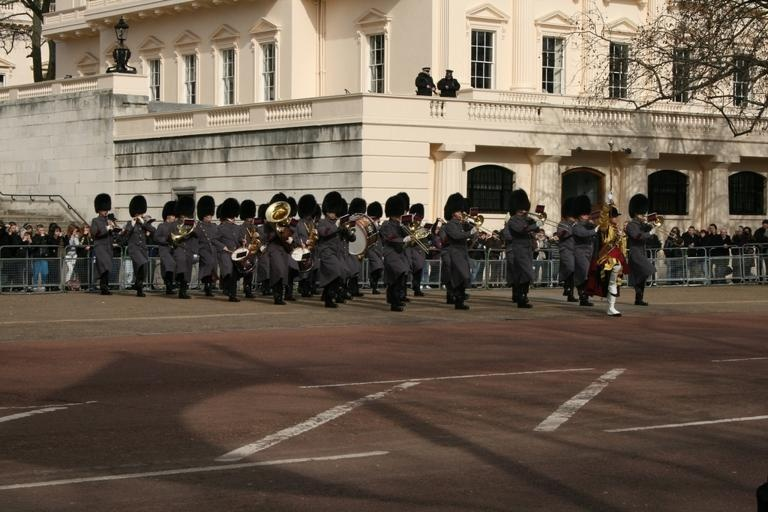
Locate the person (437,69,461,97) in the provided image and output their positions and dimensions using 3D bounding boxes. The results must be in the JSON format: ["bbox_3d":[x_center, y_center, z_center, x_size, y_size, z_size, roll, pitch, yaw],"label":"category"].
[{"bbox_3d":[1.997,-5.364,43.538,0.710,0.822,1.470,0,9,2],"label":"person"}]

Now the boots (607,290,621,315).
[{"bbox_3d":[4.846,0.991,29.366,0.300,0.532,0.508,2,9,10],"label":"boots"}]

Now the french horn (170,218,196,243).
[{"bbox_3d":[-4.667,-0.601,32.324,0.483,0.664,0.238,36,-25,35],"label":"french horn"}]

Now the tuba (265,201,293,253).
[{"bbox_3d":[-2.312,-0.701,30.554,0.600,0.951,0.531,-1,10,-6],"label":"tuba"}]

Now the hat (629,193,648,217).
[{"bbox_3d":[5.810,-1.140,31.940,0.384,0.549,0.560,1,9,6],"label":"hat"}]

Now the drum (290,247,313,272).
[{"bbox_3d":[-1.796,0.063,30.957,0.261,0.526,0.668,6,11,31],"label":"drum"}]

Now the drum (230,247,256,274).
[{"bbox_3d":[-3.245,0.102,31.959,0.516,0.565,0.539,-1,9,-4],"label":"drum"}]

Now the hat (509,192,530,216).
[{"bbox_3d":[3.020,-1.181,31.200,0.399,0.567,0.420,0,10,1],"label":"hat"}]

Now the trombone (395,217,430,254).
[{"bbox_3d":[0.774,-0.435,31.927,0.564,0.403,1.334,39,-25,-17],"label":"trombone"}]
